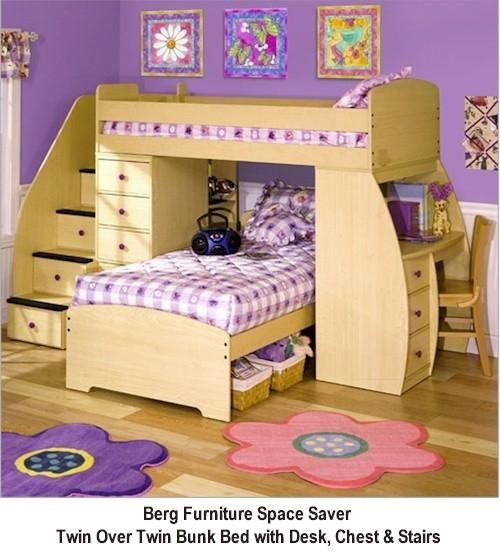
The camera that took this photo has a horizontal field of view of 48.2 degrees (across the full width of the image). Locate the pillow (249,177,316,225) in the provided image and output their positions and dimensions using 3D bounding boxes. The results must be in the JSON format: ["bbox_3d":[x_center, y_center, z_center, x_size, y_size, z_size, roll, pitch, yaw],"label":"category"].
[{"bbox_3d":[0.272,-0.580,4.282,0.394,0.092,0.384,12,45,36],"label":"pillow"}]

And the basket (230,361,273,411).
[{"bbox_3d":[0.015,0.606,3.097,0.216,0.152,0.280,3,6,27],"label":"basket"}]

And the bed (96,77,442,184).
[{"bbox_3d":[0.061,-0.939,3.686,1.858,0.525,0.958,5,13,24],"label":"bed"}]

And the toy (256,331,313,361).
[{"bbox_3d":[0.204,0.422,3.436,0.215,0.065,0.205,0,8,27],"label":"toy"}]

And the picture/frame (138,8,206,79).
[{"bbox_3d":[-0.681,-2.140,5.103,0.826,0.621,0.043,6,14,25],"label":"picture/frame"}]

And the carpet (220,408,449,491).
[{"bbox_3d":[0.363,0.788,2.596,0.979,0.027,0.813,1,8,3],"label":"carpet"}]

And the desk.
[{"bbox_3d":[1.020,0.192,4.014,0.953,1.393,1.623,2,9,24],"label":"desk"}]

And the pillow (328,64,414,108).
[{"bbox_3d":[0.702,-1.095,3.277,0.259,0.281,0.459,8,10,40],"label":"pillow"}]

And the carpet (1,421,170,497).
[{"bbox_3d":[-0.730,0.771,2.421,0.744,0.065,0.839,-1,8,-12],"label":"carpet"}]

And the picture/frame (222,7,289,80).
[{"bbox_3d":[0.070,-1.972,4.693,0.756,0.604,0.029,8,19,28],"label":"picture/frame"}]

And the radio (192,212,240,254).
[{"bbox_3d":[-0.270,-0.274,3.939,0.327,0.175,0.463,-7,23,-14],"label":"radio"}]

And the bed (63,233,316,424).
[{"bbox_3d":[-0.313,0.276,3.497,1.144,0.777,1.128,5,9,29],"label":"bed"}]

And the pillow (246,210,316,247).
[{"bbox_3d":[0.231,-0.386,4.077,0.348,0.083,0.348,-16,20,-34],"label":"pillow"}]
